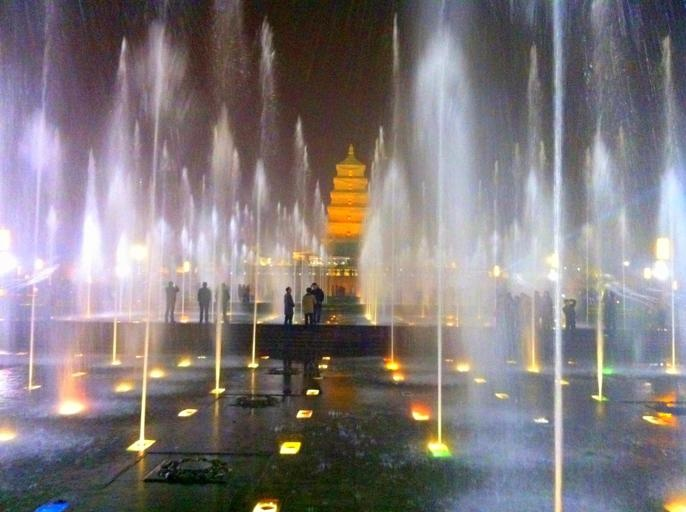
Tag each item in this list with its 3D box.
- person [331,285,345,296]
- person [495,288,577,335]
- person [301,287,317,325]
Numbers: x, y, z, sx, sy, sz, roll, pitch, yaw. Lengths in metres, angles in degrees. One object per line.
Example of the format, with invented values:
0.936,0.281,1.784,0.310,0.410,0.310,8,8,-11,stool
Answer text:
-0.327,2.189,40.073,0.944,0.944,0.533,-4,-8,39,person
5.738,1.653,19.762,2.255,1.149,1.233,8,15,2,person
-0.992,1.411,18.789,0.377,1.139,0.329,5,20,10,person
